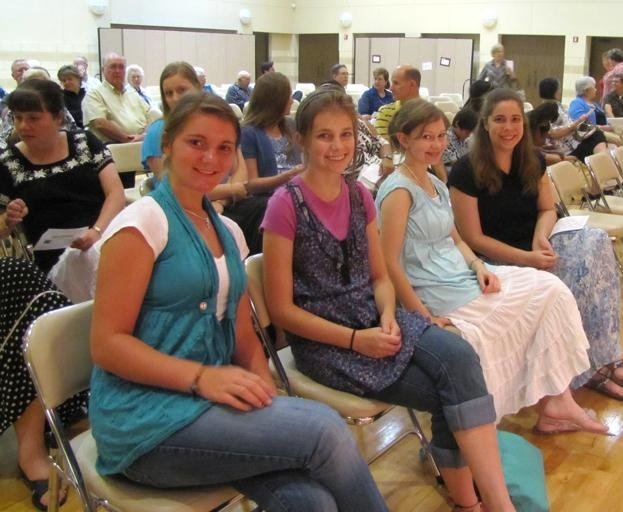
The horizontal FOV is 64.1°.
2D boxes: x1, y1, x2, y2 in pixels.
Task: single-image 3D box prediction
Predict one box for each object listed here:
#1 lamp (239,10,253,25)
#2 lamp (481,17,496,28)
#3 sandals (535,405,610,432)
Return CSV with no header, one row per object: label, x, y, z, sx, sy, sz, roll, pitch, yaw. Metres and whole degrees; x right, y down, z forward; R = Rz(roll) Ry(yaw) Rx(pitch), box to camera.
lamp,-2.011,-7.284,15.187,0.118,0.464,0.471,12,19,38
lamp,4.708,-6.127,13.103,0.338,0.315,0.102,5,16,17
sandals,1.214,0.766,2.327,0.216,0.102,0.070,-12,21,9
